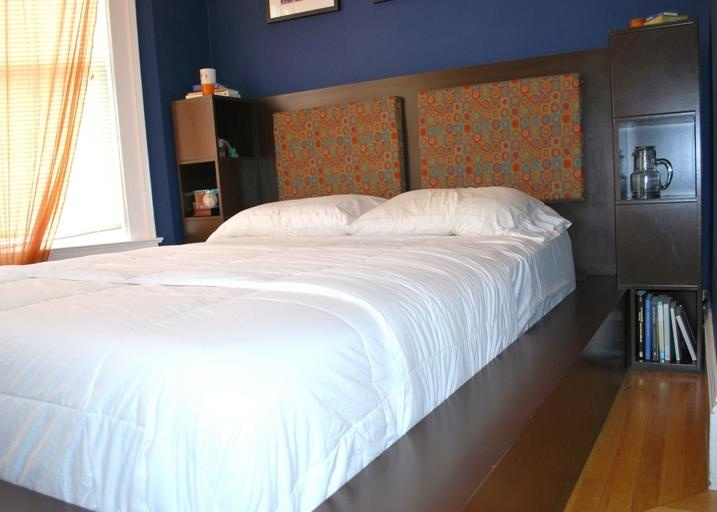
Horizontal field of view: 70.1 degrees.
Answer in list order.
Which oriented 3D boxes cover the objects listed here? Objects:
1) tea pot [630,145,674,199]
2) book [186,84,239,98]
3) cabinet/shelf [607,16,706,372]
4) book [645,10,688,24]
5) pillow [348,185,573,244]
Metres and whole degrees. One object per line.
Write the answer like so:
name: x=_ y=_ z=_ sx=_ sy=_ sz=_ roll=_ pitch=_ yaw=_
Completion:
tea pot: x=1.685 y=-0.479 z=2.963 sx=0.299 sy=0.364 sz=0.210 roll=1 pitch=5 yaw=28
book: x=-1.147 y=-1.305 z=4.117 sx=0.244 sy=0.059 sz=0.233 roll=5 pitch=8 yaw=37
cabinet/shelf: x=1.708 y=-0.312 z=2.922 sx=0.571 sy=1.908 sz=0.413 roll=3 pitch=14 yaw=26
book: x=1.699 y=-1.299 z=2.821 sx=0.198 sy=0.072 sz=0.115 roll=3 pitch=13 yaw=28
pillow: x=0.606 y=-0.258 z=3.102 sx=1.206 sy=0.271 sz=0.548 roll=3 pitch=13 yaw=29
